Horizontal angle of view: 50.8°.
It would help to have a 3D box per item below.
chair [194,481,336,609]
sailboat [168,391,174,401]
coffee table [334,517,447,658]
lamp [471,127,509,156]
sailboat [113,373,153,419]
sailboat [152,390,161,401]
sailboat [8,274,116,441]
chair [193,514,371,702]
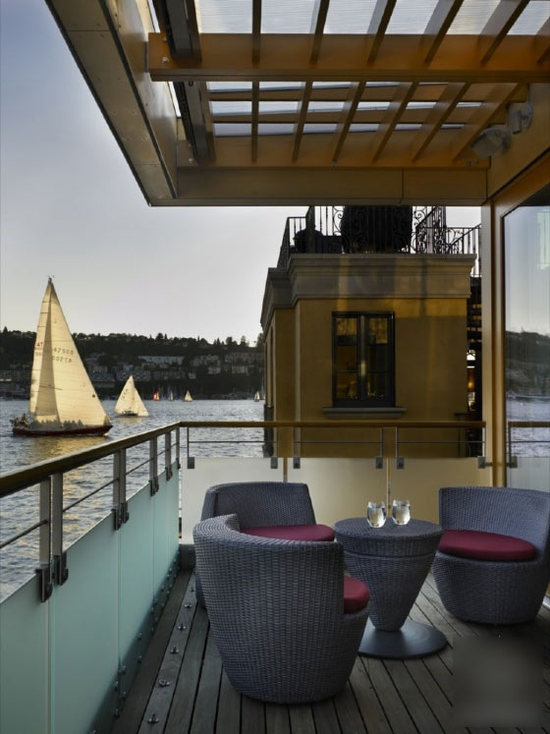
[{"bbox_3d":[-0.065,0.865,3.303,0.669,0.650,0.684,4,-9,-36],"label":"chair"},{"bbox_3d":[-4.448,1.198,24.590,0.118,0.436,0.583,0,-1,-27],"label":"sailboat"},{"bbox_3d":[0.548,1.038,2.789,0.568,0.542,0.570,-3,-12,43],"label":"coffee table"},{"bbox_3d":[1.386,-1.478,3.768,0.161,0.144,0.232,0,-1,-25],"label":"lamp"},{"bbox_3d":[-6.588,1.400,26.376,1.377,2.002,2.347,0,-1,-19],"label":"sailboat"},{"bbox_3d":[-5.199,1.233,25.274,0.367,0.462,0.667,0,-1,-13],"label":"sailboat"},{"bbox_3d":[-9.207,-0.158,25.010,2.531,6.464,3.482,0,-1,-36],"label":"sailboat"},{"bbox_3d":[-0.001,0.865,1.984,0.595,0.623,0.302,-1,-1,16],"label":"chair"}]
